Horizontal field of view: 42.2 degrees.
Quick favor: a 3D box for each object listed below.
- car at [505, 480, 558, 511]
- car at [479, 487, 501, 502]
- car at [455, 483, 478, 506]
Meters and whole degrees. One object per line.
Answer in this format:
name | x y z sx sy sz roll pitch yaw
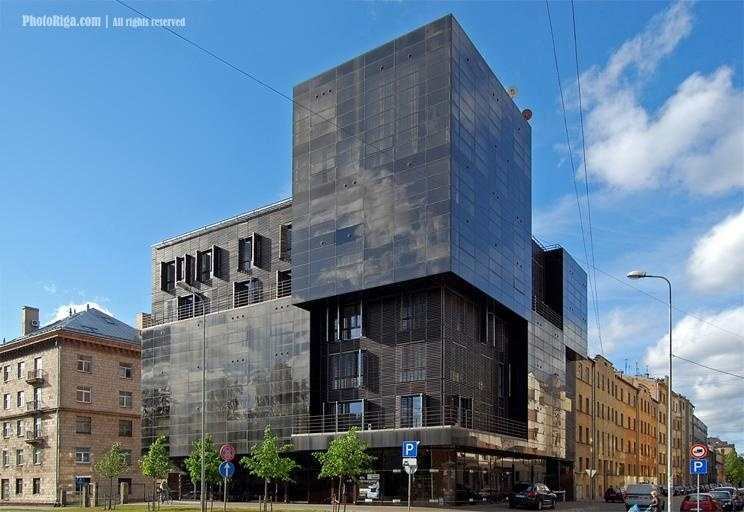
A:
car | 16.390 24.876 100.188 5.053 2.786 2.359 6 -16 -31
car | 12.433 25.300 102.587 0.750 1.449 4.080 -9 -16 26
car | 9.492 24.414 99.004 3.126 1.449 1.326 7 -9 -43
